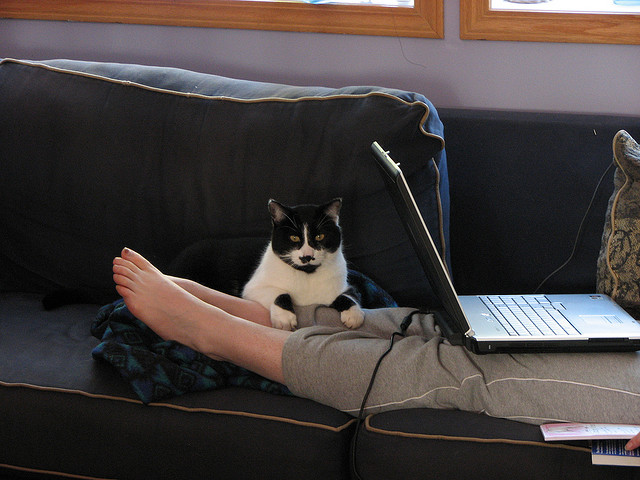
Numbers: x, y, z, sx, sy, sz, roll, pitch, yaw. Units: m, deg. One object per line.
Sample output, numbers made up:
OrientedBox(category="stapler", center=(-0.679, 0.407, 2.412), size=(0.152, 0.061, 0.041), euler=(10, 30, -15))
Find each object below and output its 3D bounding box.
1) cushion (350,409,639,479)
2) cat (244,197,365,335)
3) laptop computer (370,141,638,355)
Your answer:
OrientedBox(category="cushion", center=(0.398, 0.542, 1.543), size=(0.546, 0.085, 0.264), euler=(0, 6, 1))
OrientedBox(category="cat", center=(-0.046, 0.060, 2.187), size=(0.417, 0.427, 0.608), euler=(0, 8, -4))
OrientedBox(category="laptop computer", center=(0.455, -0.015, 1.771), size=(0.742, 0.538, 0.513), euler=(-5, 16, -2))
